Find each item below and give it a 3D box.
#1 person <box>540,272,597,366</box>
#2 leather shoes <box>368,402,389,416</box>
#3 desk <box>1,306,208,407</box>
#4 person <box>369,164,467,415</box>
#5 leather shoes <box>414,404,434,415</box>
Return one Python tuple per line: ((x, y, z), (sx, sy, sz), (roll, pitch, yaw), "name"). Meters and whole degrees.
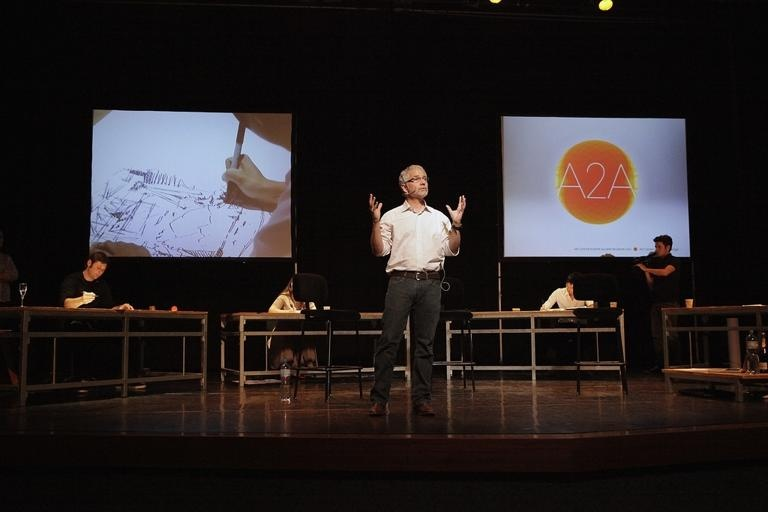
((2.606, 0.719, 9.493), (0.733, 0.929, 0.562), (10, -7, 2), "person")
((-0.039, 1.434, 6.197), (0.089, 0.098, 0.236), (-3, -14, 12), "leather shoes")
((-3.317, 1.118, 7.714), (1.366, 0.997, 2.278), (-5, -8, 43), "desk")
((0.306, 0.304, 6.255), (0.856, 2.357, 0.323), (1, -6, 3), "person")
((0.377, 1.434, 6.163), (0.199, 0.083, 0.078), (-7, -9, 34), "leather shoes")
